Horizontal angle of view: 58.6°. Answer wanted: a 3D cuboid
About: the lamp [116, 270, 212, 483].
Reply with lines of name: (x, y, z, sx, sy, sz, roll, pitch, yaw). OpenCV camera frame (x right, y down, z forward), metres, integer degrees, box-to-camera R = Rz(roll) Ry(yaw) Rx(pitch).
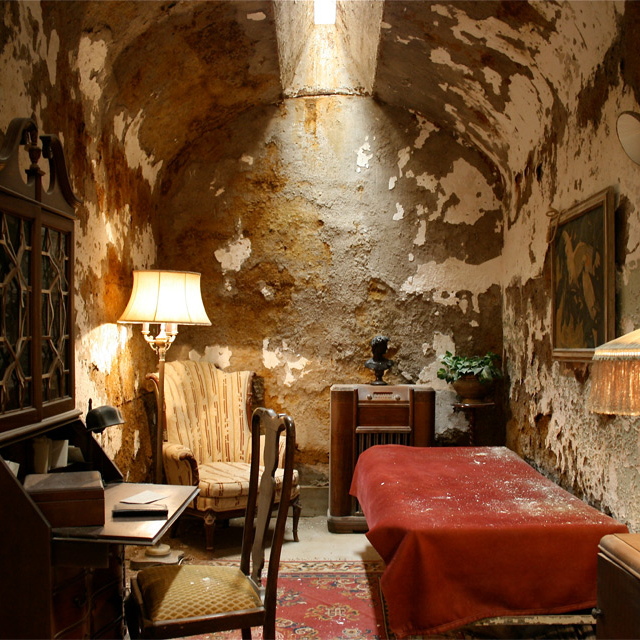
lamp: (-0.942, 0.406, 3.397, 0.413, 1.538, 0.470, 7, 13, 5)

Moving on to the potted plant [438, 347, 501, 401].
potted plant: (1.020, 0.426, 3.924, 0.329, 0.329, 0.349, 6, -10, -40)

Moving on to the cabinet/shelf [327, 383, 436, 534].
cabinet/shelf: (0.333, 1.008, 4.123, 0.733, 1.305, 0.775, 0, -1, 4)

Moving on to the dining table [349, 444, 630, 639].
dining table: (0.620, 0.888, 2.416, 0.872, 0.437, 1.173, 0, -7, 2)

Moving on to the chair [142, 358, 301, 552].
chair: (-0.589, 0.833, 3.651, 0.837, 1.340, 1.024, -5, -8, -2)
